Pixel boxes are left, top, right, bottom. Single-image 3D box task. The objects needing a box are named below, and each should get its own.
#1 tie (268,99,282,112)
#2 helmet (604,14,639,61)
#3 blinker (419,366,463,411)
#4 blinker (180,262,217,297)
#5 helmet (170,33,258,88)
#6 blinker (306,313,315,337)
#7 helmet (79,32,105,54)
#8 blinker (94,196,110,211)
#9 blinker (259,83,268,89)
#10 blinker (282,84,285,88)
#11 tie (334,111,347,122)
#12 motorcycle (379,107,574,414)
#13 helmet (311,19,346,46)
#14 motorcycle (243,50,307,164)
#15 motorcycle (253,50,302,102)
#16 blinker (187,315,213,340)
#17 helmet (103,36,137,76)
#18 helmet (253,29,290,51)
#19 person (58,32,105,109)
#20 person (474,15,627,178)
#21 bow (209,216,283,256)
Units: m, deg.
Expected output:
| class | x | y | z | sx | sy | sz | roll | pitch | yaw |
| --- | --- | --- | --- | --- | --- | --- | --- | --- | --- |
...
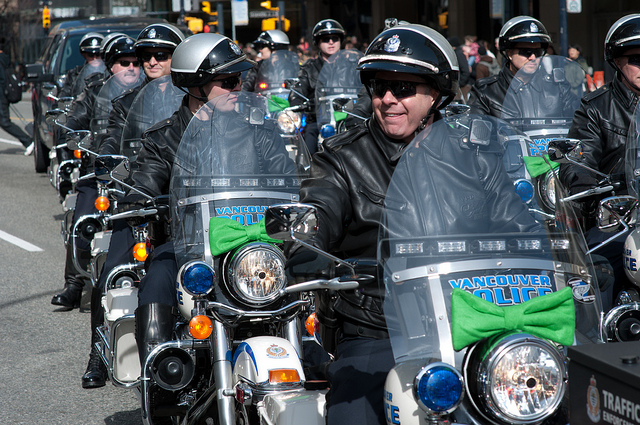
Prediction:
| class | x | y | z | sx | sy | sz | roll | pitch | yaw |
| --- | --- | --- | --- | --- | --- | --- | --- | --- | --- |
| tie | -0.292 | -0.691 | 4.822 | 0.082 | 0.091 | 0.064 | -7 | -27 | -11 |
| helmet | 2.298 | -1.326 | 5.590 | 0.233 | 0.348 | 0.326 | 5 | 12 | 20 |
| blinker | 0.483 | 0.697 | 2.928 | 0.159 | 0.178 | 0.045 | -4 | 0 | -4 |
| blinker | -0.683 | 0.404 | 4.170 | 0.218 | 0.241 | 0.127 | -5 | -28 | -17 |
| helmet | -0.747 | -1.072 | 5.118 | 0.609 | 0.339 | 0.477 | 7 | 22 | 16 |
| blinker | -0.059 | 0.686 | 4.512 | 0.100 | 0.119 | 0.088 | -2 | 14 | 5 |
| helmet | -3.302 | -2.446 | 10.580 | 0.307 | 0.245 | 0.460 | -2 | -1 | -13 |
| blinker | -1.970 | -0.082 | 6.681 | 0.115 | 0.129 | 0.054 | 10 | -2 | -4 |
| blinker | -1.106 | -2.466 | 14.323 | 0.103 | 0.117 | 0.023 | -2 | 1 | 5 |
| blinker | -0.719 | -2.464 | 14.273 | 0.052 | 0.060 | 0.055 | -4 | 12 | -25 |
| tie | 0.292 | -1.443 | 11.045 | 0.136 | 0.140 | 0.033 | 6 | -5 | 38 |
| motorcycle | 0.679 | 0.217 | 3.287 | 0.818 | 1.228 | 0.905 | 1 | 11 | -4 |
| helmet | 0.137 | -3.042 | 12.461 | 0.511 | 0.441 | 0.637 | 1 | 12 | -1 |
| motorcycle | -0.916 | -2.360 | 15.201 | 1.579 | 1.793 | 2.944 | -2 | 9 | -6 |
| motorcycle | -0.843 | -2.762 | 14.692 | 0.797 | 0.830 | 1.254 | 2 | 18 | 0 |
| blinker | -0.673 | 0.651 | 4.138 | 0.133 | 0.147 | 0.069 | -1 | 11 | -12 |
| helmet | -2.101 | -1.633 | 7.646 | 0.318 | 0.326 | 0.363 | -7 | 9 | -28 |
| helmet | -0.959 | -3.523 | 14.980 | 0.544 | 0.498 | 0.519 | 2 | 11 | 4 |
| person | -3.332 | -1.983 | 10.215 | 0.771 | 0.852 | 1.383 | -1 | -4 | -9 |
| person | 1.968 | -0.970 | 6.373 | 1.353 | 1.165 | 1.942 | -5 | 10 | -1 |
| bow | -0.491 | 0.123 | 4.147 | 0.409 | 0.249 | 0.146 | -1 | -30 | 2 |
